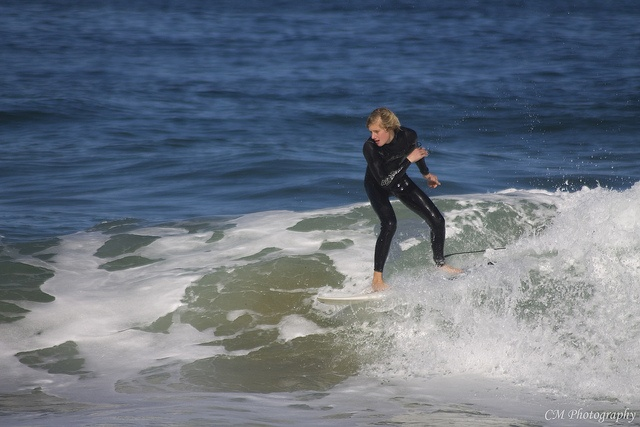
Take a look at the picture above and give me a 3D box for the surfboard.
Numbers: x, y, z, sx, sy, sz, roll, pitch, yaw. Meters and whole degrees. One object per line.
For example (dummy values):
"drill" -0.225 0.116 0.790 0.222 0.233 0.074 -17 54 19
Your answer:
"surfboard" 1.818 1.409 18.140 3.604 0.305 0.262 -8 37 1
